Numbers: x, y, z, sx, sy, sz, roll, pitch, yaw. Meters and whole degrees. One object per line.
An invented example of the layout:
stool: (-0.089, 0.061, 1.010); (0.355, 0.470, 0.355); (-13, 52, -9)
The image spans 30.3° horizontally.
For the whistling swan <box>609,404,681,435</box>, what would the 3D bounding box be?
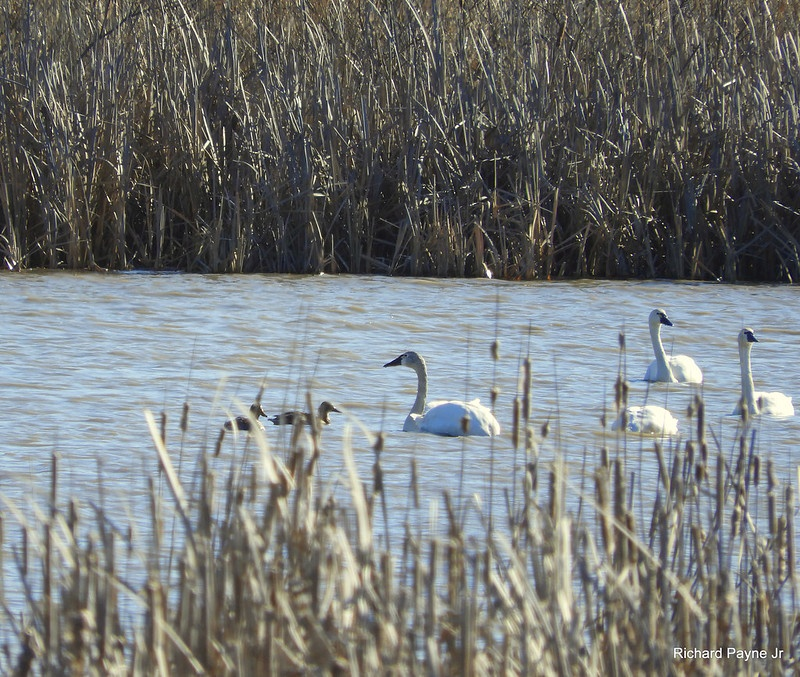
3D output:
whistling swan: (0.994, 0.334, 5.987); (0.149, 0.103, 0.250); (7, 0, 24)

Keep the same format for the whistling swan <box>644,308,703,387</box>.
whistling swan: (1.442, 0.050, 7.748); (0.295, 0.396, 1.068); (-2, 5, 8)

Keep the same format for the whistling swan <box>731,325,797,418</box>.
whistling swan: (1.816, 0.167, 7.334); (0.167, 0.450, 0.466); (-6, 18, -17)

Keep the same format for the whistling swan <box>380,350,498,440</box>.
whistling swan: (0.166, 0.321, 6.690); (0.441, 0.504, 0.215); (3, -10, 14)
